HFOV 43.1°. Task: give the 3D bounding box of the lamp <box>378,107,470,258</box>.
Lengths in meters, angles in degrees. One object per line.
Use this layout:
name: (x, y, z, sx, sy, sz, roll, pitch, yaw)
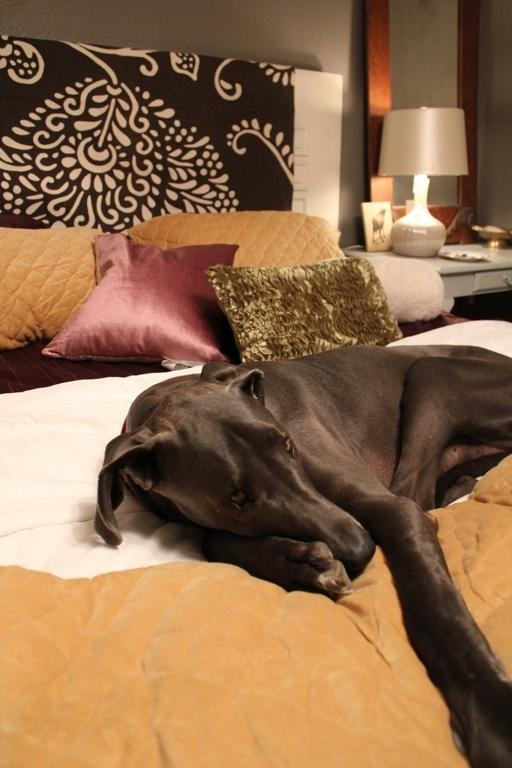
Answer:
lamp: (0.896, -1.085, 3.524, 0.537, 0.738, 0.505, 2, 13, 6)
